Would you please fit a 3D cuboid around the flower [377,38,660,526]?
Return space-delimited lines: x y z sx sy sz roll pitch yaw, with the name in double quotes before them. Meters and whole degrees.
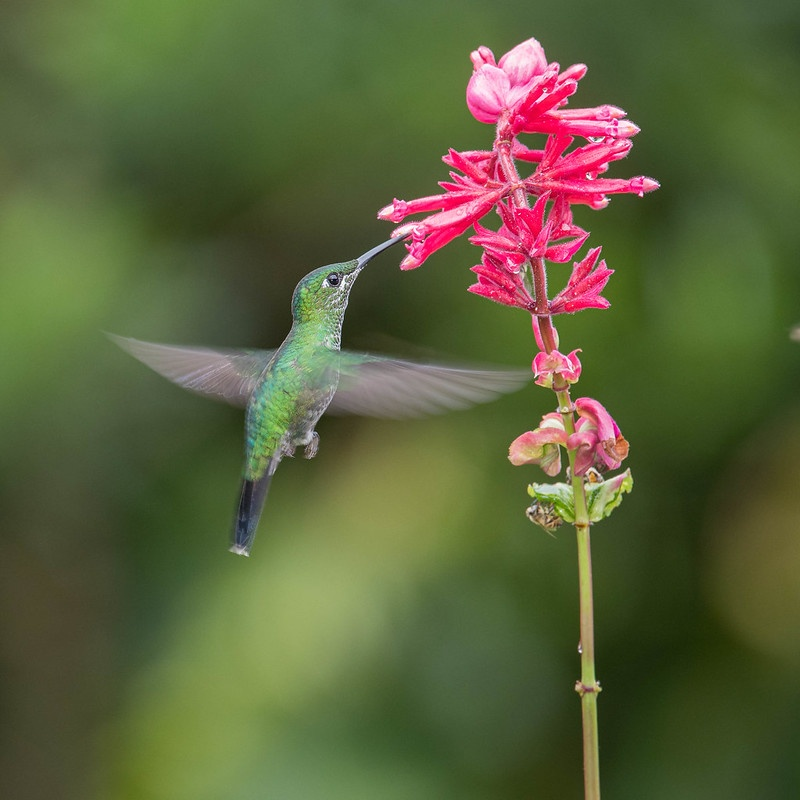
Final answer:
"flower" 0.244 -0.255 2.362 0.543 0.994 0.303 3 0 -3
